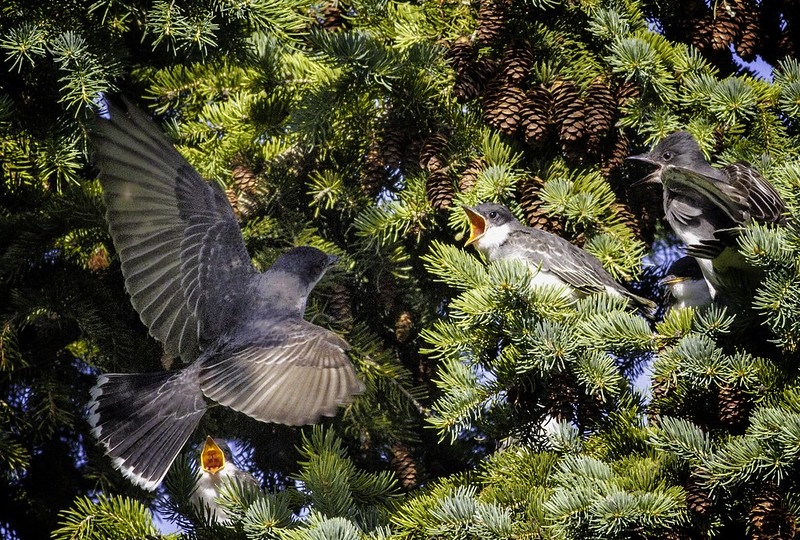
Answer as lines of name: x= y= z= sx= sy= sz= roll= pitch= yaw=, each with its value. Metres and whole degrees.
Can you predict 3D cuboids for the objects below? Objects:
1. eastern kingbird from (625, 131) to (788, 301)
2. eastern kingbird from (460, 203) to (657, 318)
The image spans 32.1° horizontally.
eastern kingbird: x=1.766 y=-0.398 z=7.892 sx=0.759 sy=0.582 sz=1.073 roll=-2 pitch=8 yaw=8
eastern kingbird: x=0.954 y=-0.044 z=8.390 sx=1.188 sy=0.719 sz=0.406 roll=1 pitch=7 yaw=-10
